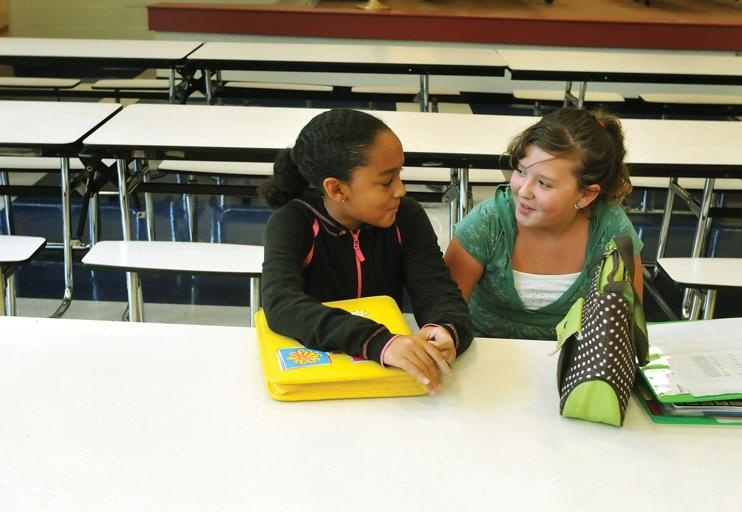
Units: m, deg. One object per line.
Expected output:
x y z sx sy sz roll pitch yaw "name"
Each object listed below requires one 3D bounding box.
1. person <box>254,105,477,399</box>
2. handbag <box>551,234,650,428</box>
-0.028 -0.019 1.751 0.476 0.662 0.789 -15 45 -15 "person"
0.526 0.174 1.504 0.172 0.294 0.320 9 30 13 "handbag"
